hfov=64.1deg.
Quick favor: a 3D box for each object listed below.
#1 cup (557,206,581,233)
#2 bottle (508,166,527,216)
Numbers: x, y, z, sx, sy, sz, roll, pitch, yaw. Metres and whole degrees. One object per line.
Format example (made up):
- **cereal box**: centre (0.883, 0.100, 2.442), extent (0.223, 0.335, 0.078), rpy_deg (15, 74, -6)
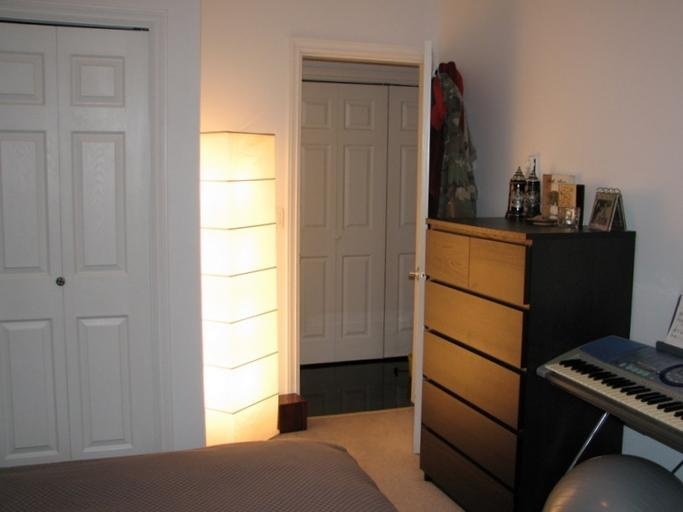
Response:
- **cup**: centre (1.120, -0.177, 2.708), extent (0.117, 0.146, 0.125), rpy_deg (2, 1, 0)
- **bottle**: centre (0.982, -0.359, 3.083), extent (0.098, 0.274, 0.197), rpy_deg (2, 10, 18)
